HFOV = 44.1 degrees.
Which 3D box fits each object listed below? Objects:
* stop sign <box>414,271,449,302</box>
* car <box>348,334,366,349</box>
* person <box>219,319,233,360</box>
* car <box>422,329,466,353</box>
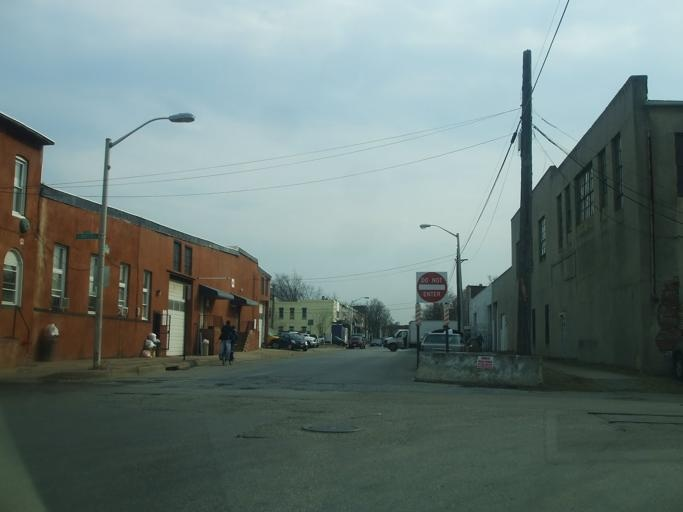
[{"bbox_3d":[2.584,0.895,24.215,0.715,0.823,0.102,2,-6,5],"label":"stop sign"},{"bbox_3d":[1.577,8.768,86.465,0.900,1.006,2.051,0,-2,11],"label":"car"},{"bbox_3d":[-4.573,3.461,33.473,0.524,1.698,2.131,2,-11,-7],"label":"person"},{"bbox_3d":[4.737,4.053,39.770,1.179,1.079,2.357,0,1,19],"label":"car"}]
